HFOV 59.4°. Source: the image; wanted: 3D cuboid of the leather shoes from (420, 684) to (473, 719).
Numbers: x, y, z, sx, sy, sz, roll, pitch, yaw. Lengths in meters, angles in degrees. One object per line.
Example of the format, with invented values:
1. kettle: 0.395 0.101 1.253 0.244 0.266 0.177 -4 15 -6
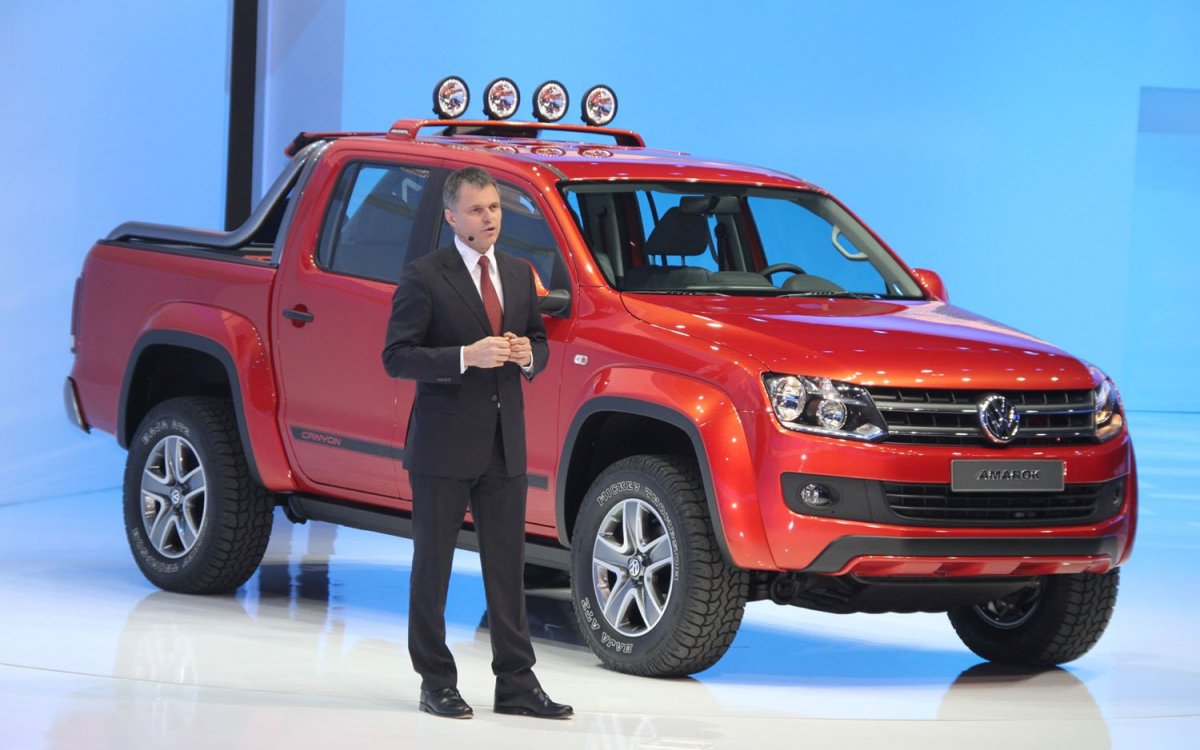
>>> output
1. leather shoes: -0.628 1.299 4.259 0.100 0.104 0.249 3 -4 -44

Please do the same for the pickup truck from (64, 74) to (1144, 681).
1. pickup truck: -0.667 -0.235 6.024 2.895 2.617 5.811 -1 2 -42

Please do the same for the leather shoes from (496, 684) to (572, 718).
1. leather shoes: -0.279 1.332 4.332 0.326 0.126 0.120 1 -2 10

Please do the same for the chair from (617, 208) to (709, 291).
1. chair: 0.350 -0.629 5.415 0.361 0.540 0.525 2 -1 -24

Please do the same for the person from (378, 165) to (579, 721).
1. person: -0.501 0.295 4.152 0.716 2.172 0.432 2 6 -13
